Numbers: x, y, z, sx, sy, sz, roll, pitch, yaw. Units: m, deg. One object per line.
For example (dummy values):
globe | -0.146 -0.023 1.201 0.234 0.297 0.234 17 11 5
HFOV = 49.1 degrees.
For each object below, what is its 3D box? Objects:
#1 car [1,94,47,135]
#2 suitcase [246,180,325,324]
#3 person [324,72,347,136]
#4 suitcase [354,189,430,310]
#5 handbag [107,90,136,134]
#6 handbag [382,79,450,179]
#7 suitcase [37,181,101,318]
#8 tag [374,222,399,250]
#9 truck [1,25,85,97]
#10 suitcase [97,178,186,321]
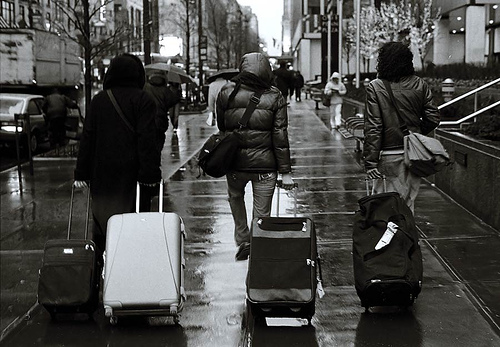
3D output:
car | -7.090 -1.843 16.988 1.112 0.865 2.197 0 13 2
suitcase | 0.398 0.650 5.904 0.766 2.017 0.722 -4 -34 10
person | 3.226 -2.796 20.935 0.676 2.117 1.136 4 11 24
suitcase | 1.461 0.823 5.690 0.838 1.283 0.671 7 -16 -31
handbag | -1.383 -0.660 5.845 0.332 0.440 0.100 6 12 34
handbag | 1.951 -0.501 6.422 0.764 1.189 0.305 2 10 14
suitcase | -1.812 1.069 5.445 0.539 0.745 0.311 -1 10 1
tag | 1.372 0.628 5.505 0.253 0.244 0.080 -8 12 -32
truck | -7.899 -4.455 22.402 3.124 2.659 7.171 -1 12 -2
suitcase | -1.095 0.784 5.559 0.948 1.399 1.040 -4 11 -17
